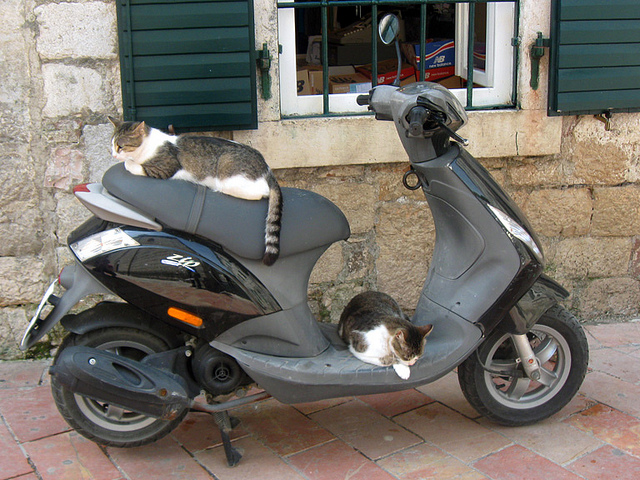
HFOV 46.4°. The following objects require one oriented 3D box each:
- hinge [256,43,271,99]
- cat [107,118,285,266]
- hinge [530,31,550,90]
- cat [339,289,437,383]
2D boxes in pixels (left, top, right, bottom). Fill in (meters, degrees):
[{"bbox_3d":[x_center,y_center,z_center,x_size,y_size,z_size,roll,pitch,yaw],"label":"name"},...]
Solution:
[{"bbox_3d":[-0.379,-1.136,5.006,0.100,0.367,0.064,-7,13,-14],"label":"hinge"},{"bbox_3d":[-0.672,-0.234,4.100,0.885,0.677,0.379,7,-31,-9],"label":"cat"},{"bbox_3d":[1.537,-1.239,5.230,0.143,0.346,0.041,-6,13,-11],"label":"hinge"},{"bbox_3d":[0.357,0.461,4.181,0.460,0.357,0.663,5,30,-26],"label":"cat"}]
